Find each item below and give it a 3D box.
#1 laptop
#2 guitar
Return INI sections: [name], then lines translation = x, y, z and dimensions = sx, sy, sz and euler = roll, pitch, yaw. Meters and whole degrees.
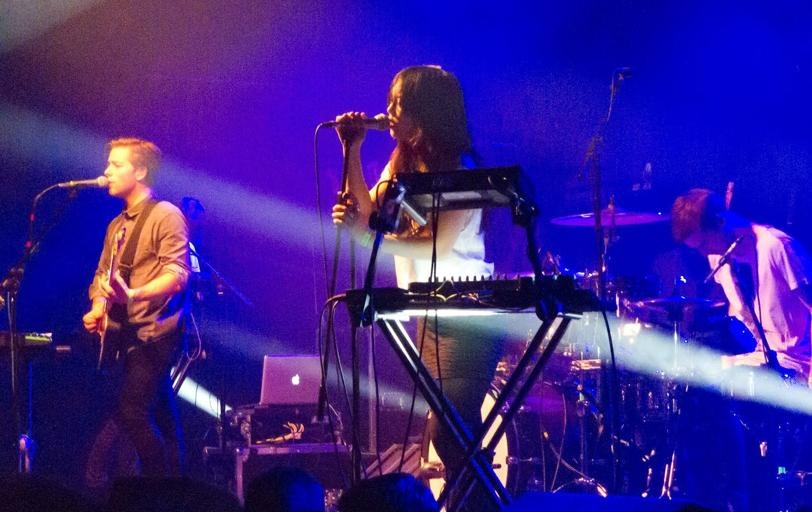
[laptop]
translation = -1.189, 1.289, 8.411
dimensions = 0.693, 0.519, 0.518
euler = 1, -6, -6
[guitar]
translation = -2.473, 0.335, 6.743
dimensions = 0.107, 1.222, 0.527
euler = 7, -14, -20
